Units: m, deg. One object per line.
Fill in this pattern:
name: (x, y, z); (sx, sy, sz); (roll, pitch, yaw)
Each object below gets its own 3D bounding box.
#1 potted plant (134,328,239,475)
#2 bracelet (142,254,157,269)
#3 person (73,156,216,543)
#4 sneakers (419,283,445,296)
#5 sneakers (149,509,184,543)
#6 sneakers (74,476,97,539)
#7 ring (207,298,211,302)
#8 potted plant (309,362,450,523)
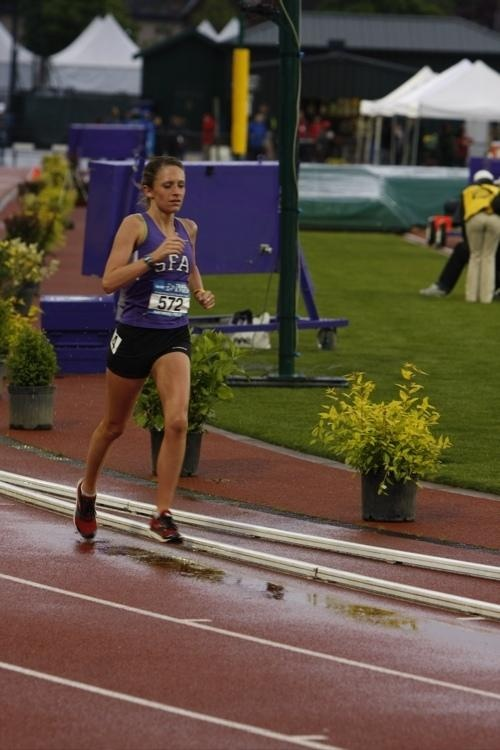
potted plant: (-0.489, 0.343, 6.760); (0.627, 0.805, 0.630); (6, -30, 4)
bracelet: (-0.475, -0.539, 4.235); (0.050, 0.031, 0.064); (10, -20, -1)
person: (-0.502, -0.087, 4.546); (0.645, 2.034, 0.686); (4, 3, -10)
sneakers: (3.706, -1.754, 18.302); (0.421, 0.178, 0.251); (5, 7, 32)
sneakers: (-0.412, 0.772, 4.650); (0.107, 0.123, 0.224); (-16, 29, -40)
sneakers: (-0.864, 0.712, 4.779); (0.118, 0.326, 0.147); (-4, 1, -20)
ring: (-0.216, -0.397, 4.695); (0.022, 0.019, 0.005); (13, 3, 5)
potted plant: (0.997, 0.536, 6.971); (1.039, 1.134, 0.903); (-3, 8, -31)
